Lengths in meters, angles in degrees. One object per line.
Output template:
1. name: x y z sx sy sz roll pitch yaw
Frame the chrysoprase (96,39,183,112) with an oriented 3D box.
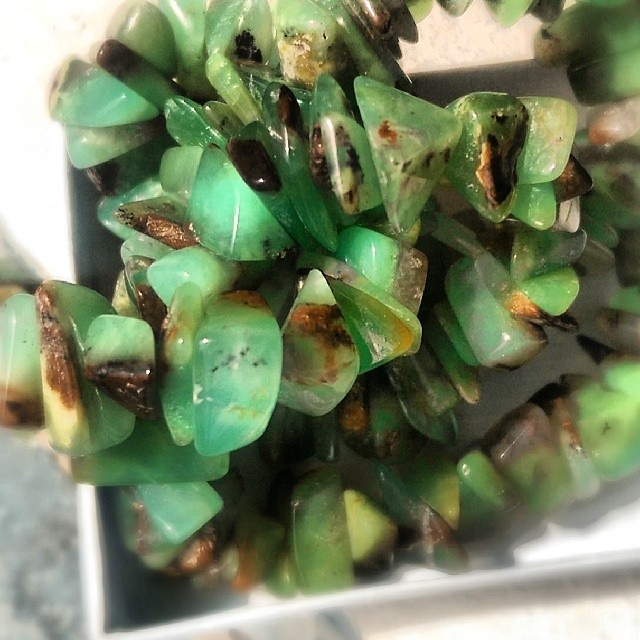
1. chrysoprase: -0.129 -0.175 0.622 0.067 0.019 0.033 45 77 -13
